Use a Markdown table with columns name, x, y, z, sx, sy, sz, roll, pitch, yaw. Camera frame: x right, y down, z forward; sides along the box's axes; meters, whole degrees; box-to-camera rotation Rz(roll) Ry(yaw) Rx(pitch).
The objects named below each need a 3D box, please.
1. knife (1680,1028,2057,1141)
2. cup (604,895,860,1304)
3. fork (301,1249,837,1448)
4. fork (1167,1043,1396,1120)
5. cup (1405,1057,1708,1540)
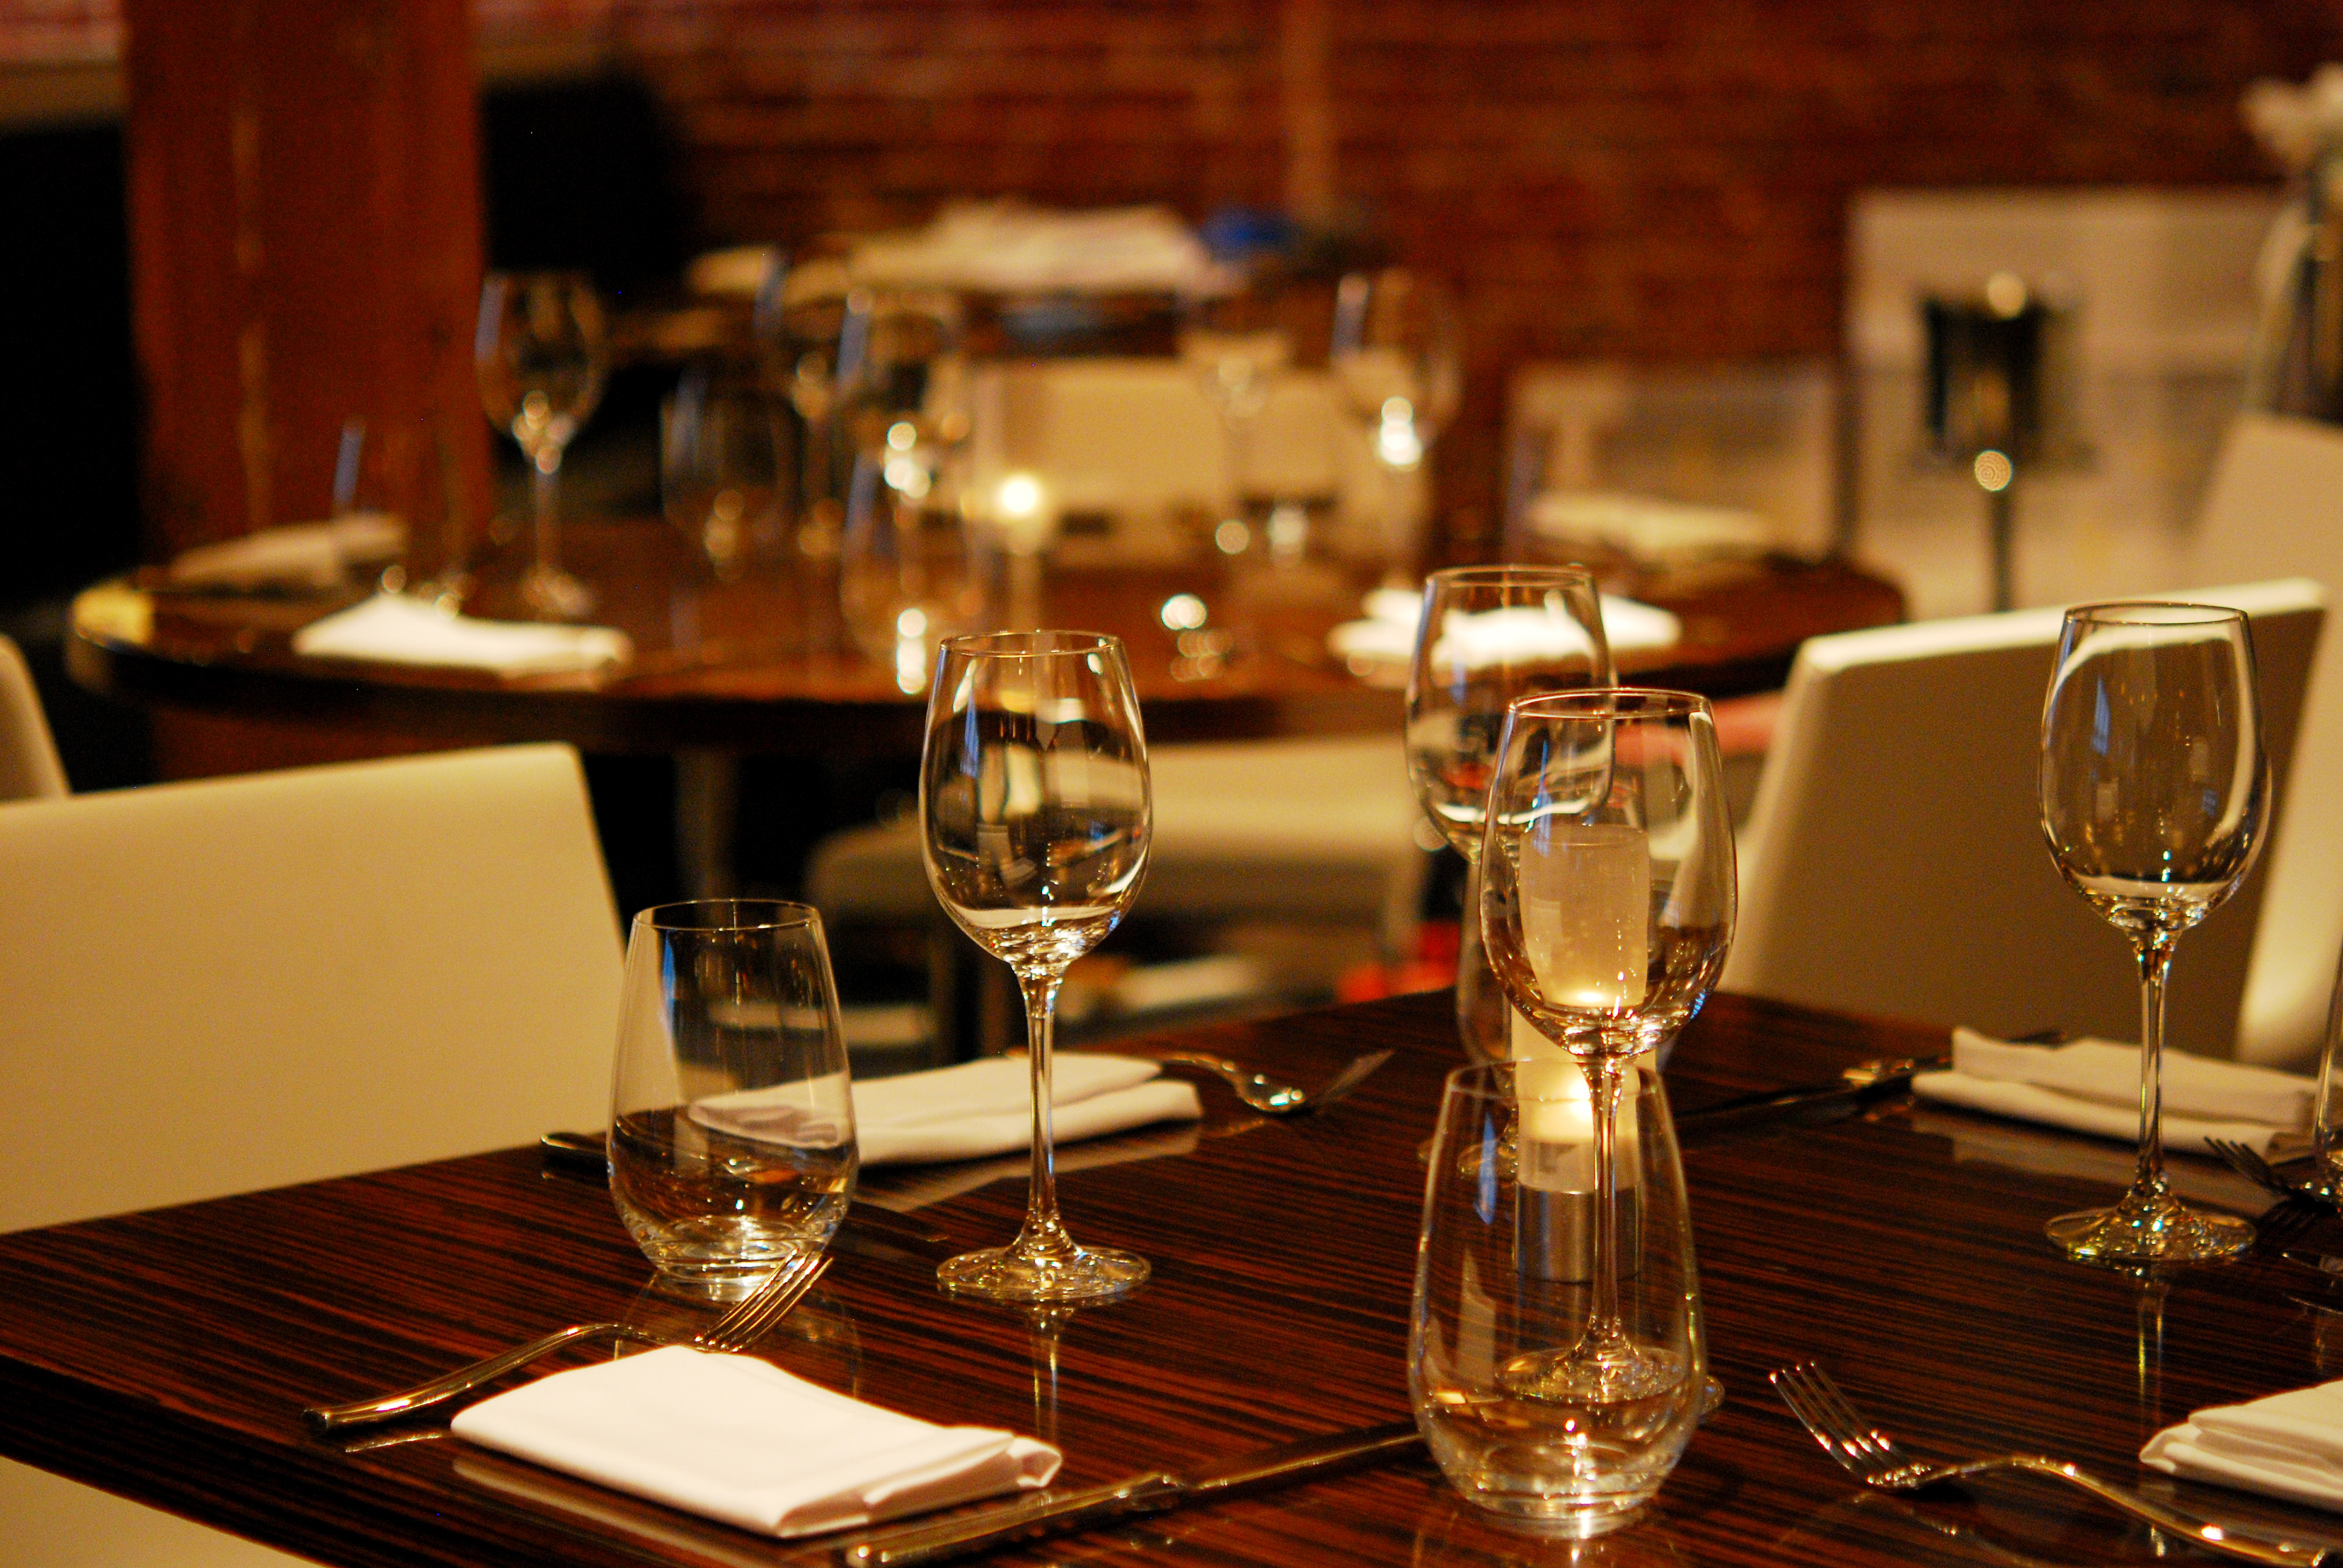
| name | x | y | z | sx | sy | sz | roll | pitch | yaw |
| --- | --- | --- | --- | --- | --- | --- | --- | --- | --- |
| knife | 0.449 | 0.195 | 1.407 | 0.308 | 0.009 | 0.032 | -7 | 9 | -28 |
| cup | -0.233 | 0.161 | 1.167 | 0.137 | 0.193 | 0.138 | 0 | 11 | 0 |
| fork | -0.280 | 0.269 | 1.037 | 0.028 | 0.031 | 0.215 | 5 | 11 | 42 |
| fork | 0.061 | 0.192 | 1.445 | 0.235 | 0.042 | 0.050 | -8 | 2 | 41 |
| cup | 0.154 | 0.211 | 0.865 | 0.112 | 0.186 | 0.061 | 0 | 11 | 3 |
